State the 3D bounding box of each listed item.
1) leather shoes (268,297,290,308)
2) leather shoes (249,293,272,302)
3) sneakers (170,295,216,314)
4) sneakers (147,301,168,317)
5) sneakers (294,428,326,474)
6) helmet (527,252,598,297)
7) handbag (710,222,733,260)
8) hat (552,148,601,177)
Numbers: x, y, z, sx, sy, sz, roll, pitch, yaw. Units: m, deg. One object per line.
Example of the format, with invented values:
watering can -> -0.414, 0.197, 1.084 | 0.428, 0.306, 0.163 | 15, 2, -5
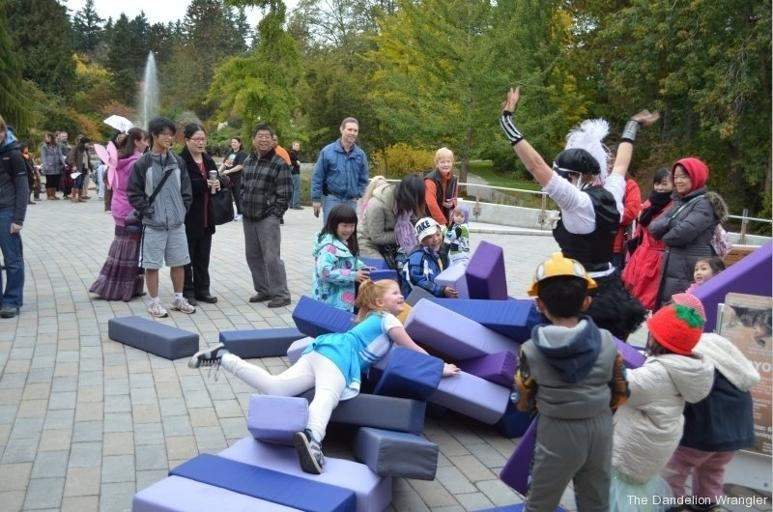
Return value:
leather shoes -> -1.615, 0.693, 8.733 | 0.342, 0.134, 0.129 | 4, -2, -36
leather shoes -> -1.948, 0.634, 8.968 | 0.324, 0.127, 0.123 | 1, 0, -32
sneakers -> -2.807, 0.679, 8.314 | 0.465, 0.194, 0.194 | 8, 12, 25
sneakers -> -3.173, 0.718, 8.016 | 0.151, 0.157, 0.375 | -2, 6, -45
sneakers -> -0.596, 1.500, 4.473 | 0.236, 0.288, 0.192 | 3, 12, 0
helmet -> 1.287, 0.136, 4.211 | 0.393, 0.331, 0.448 | 12, 14, 35
handbag -> 3.925, -0.156, 6.839 | 0.324, 0.384, 0.124 | -24, 13, -29
hat -> 1.685, -0.817, 5.227 | 0.335, 0.249, 0.253 | 28, 8, 37
